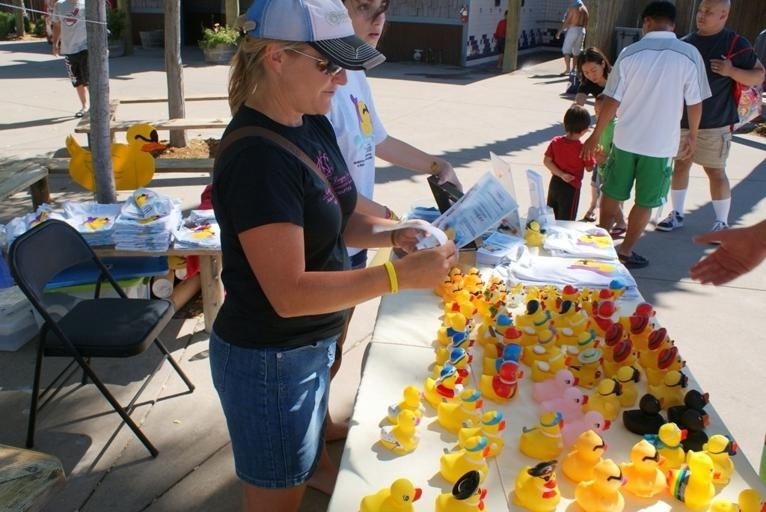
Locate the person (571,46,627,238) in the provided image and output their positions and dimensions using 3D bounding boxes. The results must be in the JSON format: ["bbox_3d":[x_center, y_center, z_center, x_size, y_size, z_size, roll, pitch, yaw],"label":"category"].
[{"bbox_3d":[2.720,-1.349,6.535,0.737,2.193,0.741,-26,22,-34],"label":"person"}]

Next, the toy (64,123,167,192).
[{"bbox_3d":[-2.847,-1.038,5.760,0.988,0.715,0.311,1,18,-8],"label":"toy"}]

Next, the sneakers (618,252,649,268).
[{"bbox_3d":[2.592,0.042,5.554,0.252,0.108,0.131,-2,27,0],"label":"sneakers"}]

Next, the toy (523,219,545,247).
[{"bbox_3d":[1.057,-0.147,3.757,0.117,0.176,0.175,-5,9,-2],"label":"toy"}]
